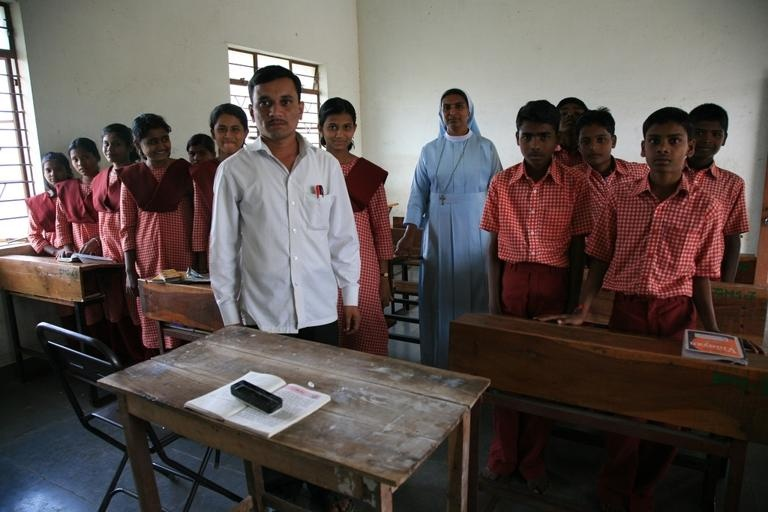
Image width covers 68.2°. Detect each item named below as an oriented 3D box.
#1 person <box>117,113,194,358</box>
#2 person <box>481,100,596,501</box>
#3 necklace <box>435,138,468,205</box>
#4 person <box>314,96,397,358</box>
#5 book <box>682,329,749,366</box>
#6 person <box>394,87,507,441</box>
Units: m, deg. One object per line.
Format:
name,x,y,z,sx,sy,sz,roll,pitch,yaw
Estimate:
person,-1.696,-0.132,4.395,0.540,1.880,0.524,-6,21,-23
person,0.908,0.170,3.449,0.869,2.118,0.778,5,14,29
necklace,0.488,-0.655,4.151,0.208,0.529,0.186,-2,17,-5
person,-0.226,-0.199,3.914,0.667,1.720,0.532,4,13,25
book,1.613,0.434,2.778,0.272,0.106,0.218,3,15,24
person,0.563,-0.053,4.389,0.862,2.315,0.580,4,13,24
